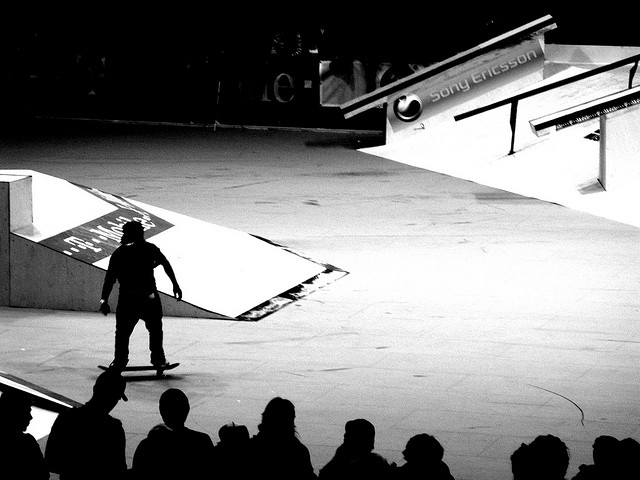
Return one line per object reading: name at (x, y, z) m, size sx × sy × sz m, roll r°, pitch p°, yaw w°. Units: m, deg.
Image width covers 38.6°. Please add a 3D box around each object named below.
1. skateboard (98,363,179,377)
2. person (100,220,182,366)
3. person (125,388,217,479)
skateboard at (-2.076, 1.474, 10.471) m, size 0.888 × 0.109 × 0.193 m, roll 0°, pitch 15°, yaw -4°
person at (-2.096, 0.624, 10.511) m, size 0.494 × 1.659 × 0.723 m, roll -1°, pitch -10°, yaw 35°
person at (-1.077, 1.439, 6.772) m, size 0.632 × 0.614 × 0.542 m, roll 5°, pitch -8°, yaw -9°
